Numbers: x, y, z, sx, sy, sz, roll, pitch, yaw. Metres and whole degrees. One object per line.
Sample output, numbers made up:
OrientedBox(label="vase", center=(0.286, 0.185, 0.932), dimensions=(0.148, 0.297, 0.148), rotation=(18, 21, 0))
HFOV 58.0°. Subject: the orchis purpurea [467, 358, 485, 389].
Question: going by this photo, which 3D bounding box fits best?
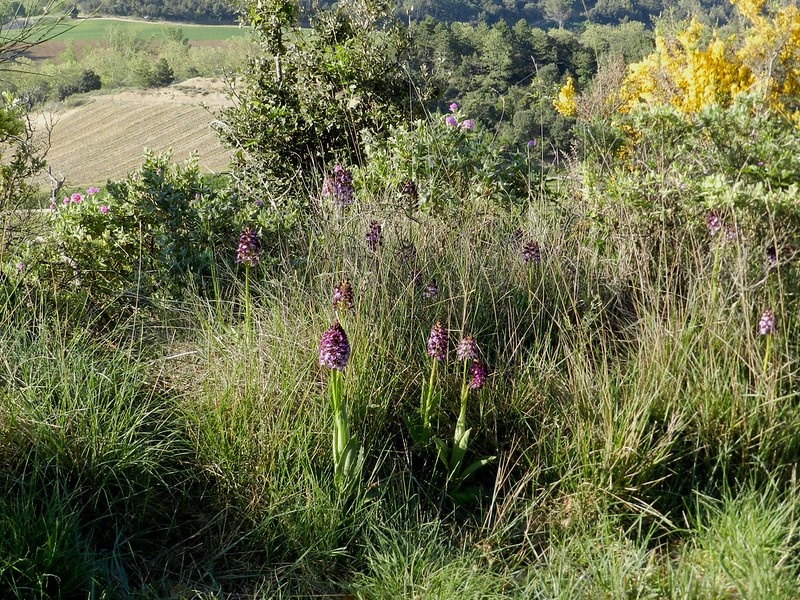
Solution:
OrientedBox(label="orchis purpurea", center=(0.394, 0.400, 3.745), dimensions=(0.087, 0.175, 0.096), rotation=(-1, 30, -11))
